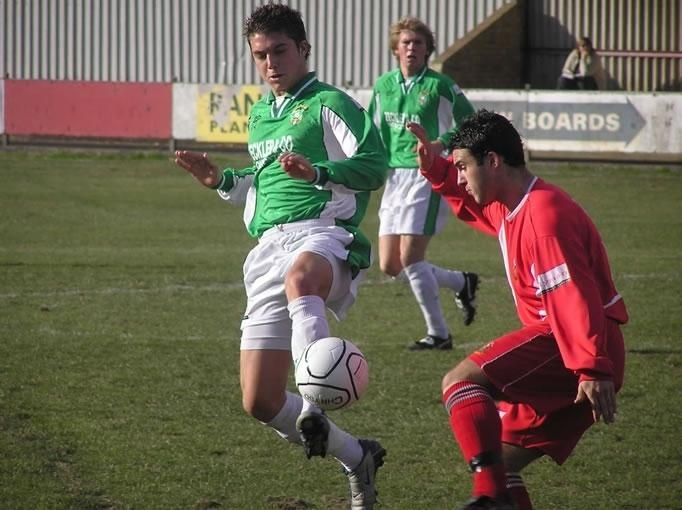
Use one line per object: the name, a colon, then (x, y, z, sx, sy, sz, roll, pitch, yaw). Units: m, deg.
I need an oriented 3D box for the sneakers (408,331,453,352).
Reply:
sneakers: (0.927, 0.910, 16.960, 0.472, 0.191, 0.171, 1, -3, -7)

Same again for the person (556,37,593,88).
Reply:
person: (3.129, -2.556, 21.704, 0.427, 0.850, 0.499, 10, 51, 18)

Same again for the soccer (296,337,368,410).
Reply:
soccer: (-0.092, 1.081, 15.147, 0.652, 0.632, 0.674, 9, 48, 3)
